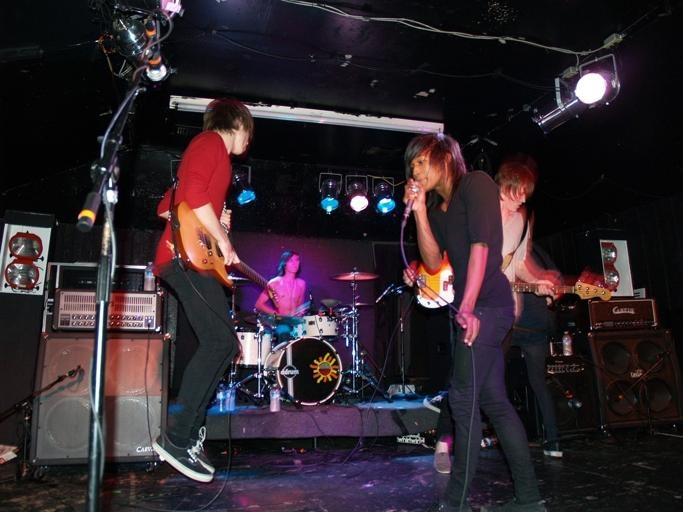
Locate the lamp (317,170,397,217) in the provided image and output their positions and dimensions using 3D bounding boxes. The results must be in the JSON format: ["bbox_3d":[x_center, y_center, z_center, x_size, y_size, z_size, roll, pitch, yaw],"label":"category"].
[{"bbox_3d":[0.266,-0.804,6.916,1.129,0.636,0.263,1,-24,-12],"label":"lamp"}]

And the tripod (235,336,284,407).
[{"bbox_3d":[-0.946,1.291,5.828,0.602,0.802,0.565,-2,-5,25],"label":"tripod"}]

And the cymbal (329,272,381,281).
[{"bbox_3d":[0.190,0.286,6.855,0.607,0.176,0.410,5,-10,-36],"label":"cymbal"}]

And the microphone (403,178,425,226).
[{"bbox_3d":[0.479,-0.349,3.243,0.129,0.062,0.260,-2,-55,-4],"label":"microphone"}]

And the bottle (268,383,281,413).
[{"bbox_3d":[-0.674,1.438,5.040,0.113,0.237,0.280,0,-8,-8],"label":"bottle"}]

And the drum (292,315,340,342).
[{"bbox_3d":[-0.283,0.886,5.966,0.416,0.219,0.324,17,-27,-28],"label":"drum"}]

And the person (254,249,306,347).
[{"bbox_3d":[-0.736,0.515,6.583,0.569,1.217,0.271,13,-33,-17],"label":"person"}]

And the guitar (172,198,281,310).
[{"bbox_3d":[-0.765,0.084,3.584,0.139,0.492,1.132,-18,-36,18],"label":"guitar"}]

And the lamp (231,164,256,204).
[{"bbox_3d":[-1.319,-0.949,6.626,0.281,0.488,0.110,-4,0,-14],"label":"lamp"}]

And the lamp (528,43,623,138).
[{"bbox_3d":[2.173,-1.520,4.724,0.321,0.626,1.000,-9,-11,-36],"label":"lamp"}]

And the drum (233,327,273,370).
[{"bbox_3d":[-1.078,1.083,5.814,0.416,0.431,0.435,6,-9,-25],"label":"drum"}]

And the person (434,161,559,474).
[{"bbox_3d":[1.521,0.433,4.709,1.054,3.135,0.913,-7,17,-5],"label":"person"}]

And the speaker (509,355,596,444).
[{"bbox_3d":[2.122,1.427,5.064,0.754,0.749,0.558,2,-8,-22],"label":"speaker"}]

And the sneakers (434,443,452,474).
[{"bbox_3d":[0.776,1.569,3.793,0.127,0.132,0.352,4,-5,7],"label":"sneakers"}]
